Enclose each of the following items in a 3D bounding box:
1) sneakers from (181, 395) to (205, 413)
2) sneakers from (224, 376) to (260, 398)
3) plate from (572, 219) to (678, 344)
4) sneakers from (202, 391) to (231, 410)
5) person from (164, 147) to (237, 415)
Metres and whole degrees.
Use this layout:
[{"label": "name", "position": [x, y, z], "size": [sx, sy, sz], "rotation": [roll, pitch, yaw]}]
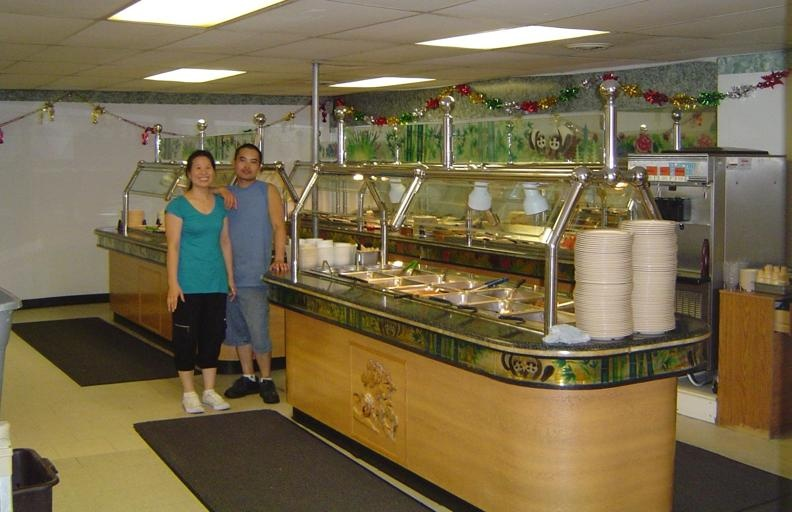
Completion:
[{"label": "sneakers", "position": [-1.718, 1.260, 5.008], "size": [0.104, 0.082, 0.241], "rotation": [-1, 1, -31]}, {"label": "sneakers", "position": [-1.401, 1.200, 5.419], "size": [0.374, 0.139, 0.142], "rotation": [-2, 3, -37]}, {"label": "plate", "position": [1.235, 0.155, 3.174], "size": [0.792, 0.612, 0.427], "rotation": [-3, 4, -29]}, {"label": "sneakers", "position": [-1.581, 1.245, 5.122], "size": [0.123, 0.099, 0.302], "rotation": [0, 6, -43]}, {"label": "person", "position": [-1.660, 0.241, 4.945], "size": [0.492, 2.193, 0.269], "rotation": [-2, 9, -17]}]
